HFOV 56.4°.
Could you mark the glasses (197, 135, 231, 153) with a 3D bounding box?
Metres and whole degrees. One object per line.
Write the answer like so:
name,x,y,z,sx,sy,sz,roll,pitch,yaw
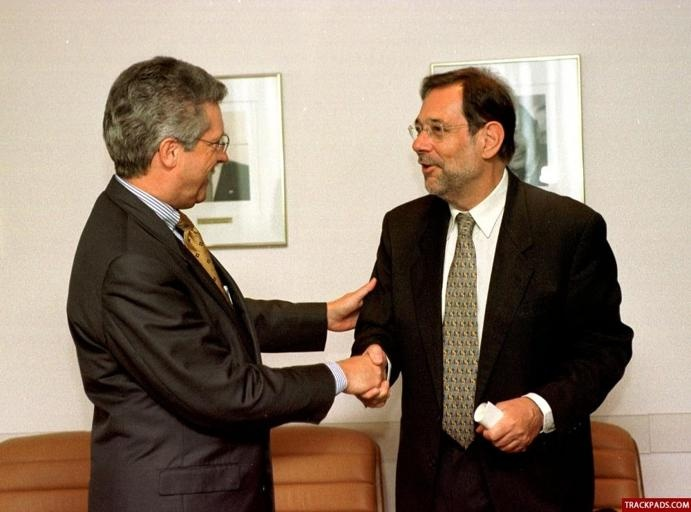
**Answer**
glasses,-0.469,-0.399,2.270,0.089,0.031,0.092,3,6,9
